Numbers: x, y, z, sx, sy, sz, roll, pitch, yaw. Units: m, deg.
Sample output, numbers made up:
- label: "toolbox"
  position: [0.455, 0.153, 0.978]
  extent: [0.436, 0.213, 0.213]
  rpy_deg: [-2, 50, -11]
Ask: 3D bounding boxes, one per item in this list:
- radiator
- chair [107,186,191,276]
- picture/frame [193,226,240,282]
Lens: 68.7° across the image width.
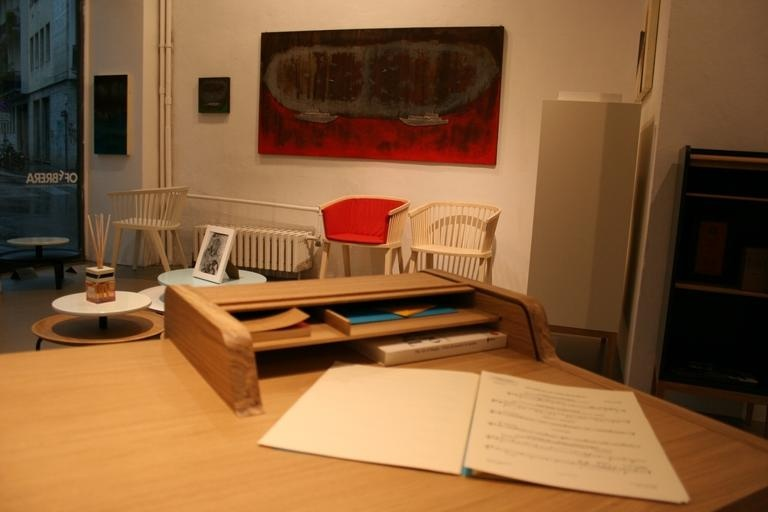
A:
- label: "radiator"
  position: [-1.259, -0.059, 6.139]
  extent: [1.025, 0.454, 0.352]
  rpy_deg: [6, 12, 31]
- label: "chair"
  position: [-2.466, -0.315, 5.917]
  extent: [0.757, 0.884, 0.772]
  rpy_deg: [5, 7, 10]
- label: "picture/frame"
  position: [-1.203, -0.015, 4.092]
  extent: [0.334, 0.394, 0.250]
  rpy_deg: [11, 9, 35]
